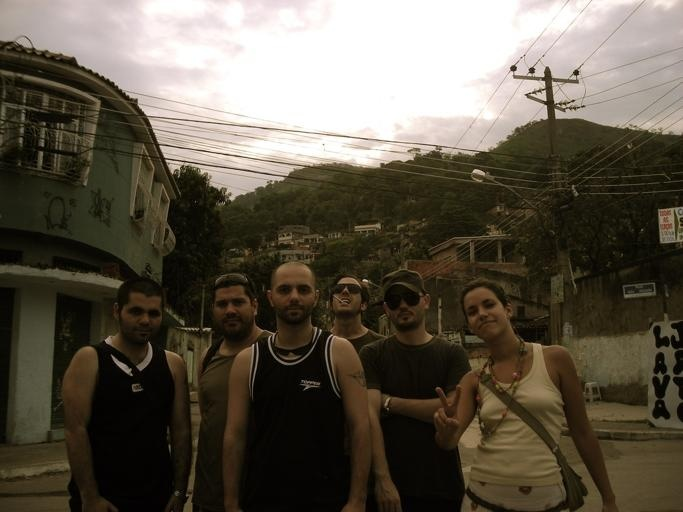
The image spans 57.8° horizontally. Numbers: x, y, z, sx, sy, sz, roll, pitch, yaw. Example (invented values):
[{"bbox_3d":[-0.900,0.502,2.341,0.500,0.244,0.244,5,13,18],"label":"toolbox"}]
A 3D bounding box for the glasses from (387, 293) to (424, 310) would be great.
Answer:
[{"bbox_3d":[0.590,0.415,5.978,0.190,0.081,0.205,-5,-33,10],"label":"glasses"}]
